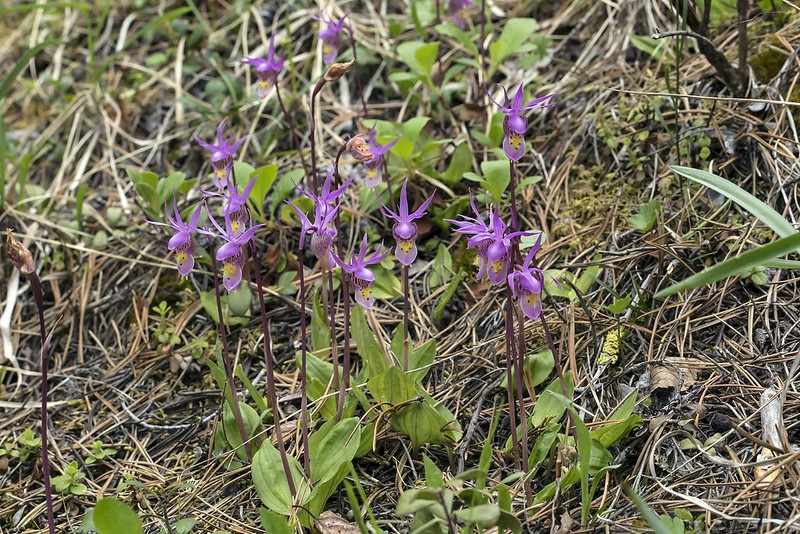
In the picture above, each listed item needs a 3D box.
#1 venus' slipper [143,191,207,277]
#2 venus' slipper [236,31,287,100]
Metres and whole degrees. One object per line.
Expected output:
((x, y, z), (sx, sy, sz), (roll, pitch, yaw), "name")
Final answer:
((-1.394, -0.186, 4.524), (0.385, 0.426, 0.494), (-8, 77, 5), "venus' slipper")
((-0.750, -1.154, 4.405), (0.368, 0.173, 0.458), (8, 101, 25), "venus' slipper")
